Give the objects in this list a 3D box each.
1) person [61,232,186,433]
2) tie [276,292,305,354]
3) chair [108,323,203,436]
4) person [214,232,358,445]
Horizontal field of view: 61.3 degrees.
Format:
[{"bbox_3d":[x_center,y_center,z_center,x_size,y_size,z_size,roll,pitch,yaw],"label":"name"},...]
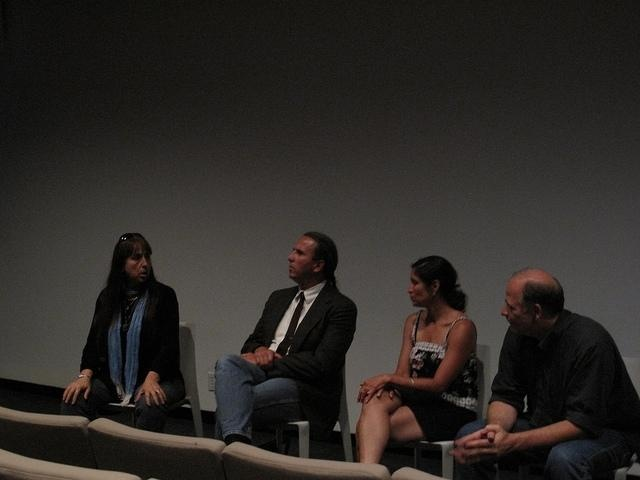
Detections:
[{"bbox_3d":[-1.203,0.531,3.380,0.737,1.165,0.418,3,-7,12],"label":"person"},{"bbox_3d":[-0.180,0.531,3.346,0.052,0.393,0.048,12,-29,18],"label":"tie"},{"bbox_3d":[-1.030,1.016,3.626,0.437,0.692,0.460,-3,19,-16],"label":"chair"},{"bbox_3d":[-0.222,0.524,3.244,0.851,1.217,0.561,11,-9,-35],"label":"person"}]
